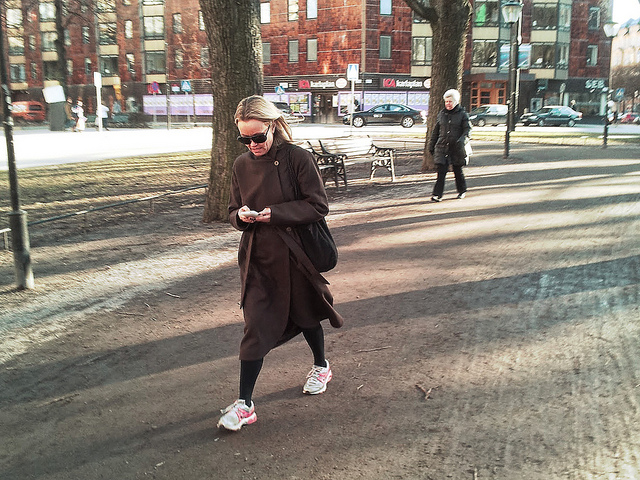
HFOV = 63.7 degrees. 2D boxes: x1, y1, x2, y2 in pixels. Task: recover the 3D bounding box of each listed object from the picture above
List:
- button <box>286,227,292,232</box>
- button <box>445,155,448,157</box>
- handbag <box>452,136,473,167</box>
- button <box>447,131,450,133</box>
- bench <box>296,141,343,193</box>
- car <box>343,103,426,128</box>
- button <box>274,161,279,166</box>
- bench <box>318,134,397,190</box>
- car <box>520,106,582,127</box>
[{"bbox_3d":[-0.203,-0.069,3.462,0.038,0.025,0.008,-3,14,-5],"label":"button"},{"bbox_3d":[2.480,-1.632,10.039,0.013,0.011,0.050,-13,-8,-46],"label":"button"},{"bbox_3d":[2.823,-1.731,10.159,0.319,0.602,0.488,2,14,18],"label":"handbag"},{"bbox_3d":[2.523,-2.087,10.014,0.080,0.019,0.019,-8,-27,27],"label":"button"},{"bbox_3d":[0.135,-1.695,12.113,0.752,1.161,1.188,-3,14,-2],"label":"bench"},{"bbox_3d":[5.932,-10.416,43.362,5.745,1.769,2.485,1,13,11],"label":"car"},{"bbox_3d":[-0.291,-0.511,3.464,0.034,0.030,0.008,7,1,-17],"label":"button"},{"bbox_3d":[1.012,-1.985,13.205,0.965,1.112,2.497,13,19,33],"label":"bench"},{"bbox_3d":[20.855,-10.865,45.793,5.049,1.428,2.098,1,8,-2],"label":"car"}]
